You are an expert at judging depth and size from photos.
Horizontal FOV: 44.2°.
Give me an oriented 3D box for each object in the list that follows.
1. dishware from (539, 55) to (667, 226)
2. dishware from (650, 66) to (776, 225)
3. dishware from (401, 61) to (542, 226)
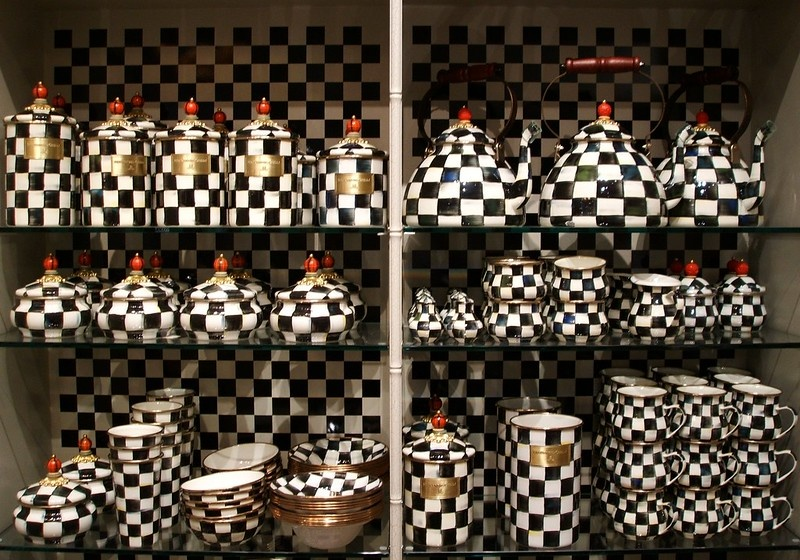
[{"bbox_3d":[0.656,-0.449,3.404,0.507,0.724,0.522,0,2,11],"label":"dishware"},{"bbox_3d":[1.069,-0.442,3.381,0.358,0.528,0.484,-9,10,-34],"label":"dishware"},{"bbox_3d":[0.256,-0.438,3.332,0.425,0.586,0.536,1,1,-41],"label":"dishware"}]
